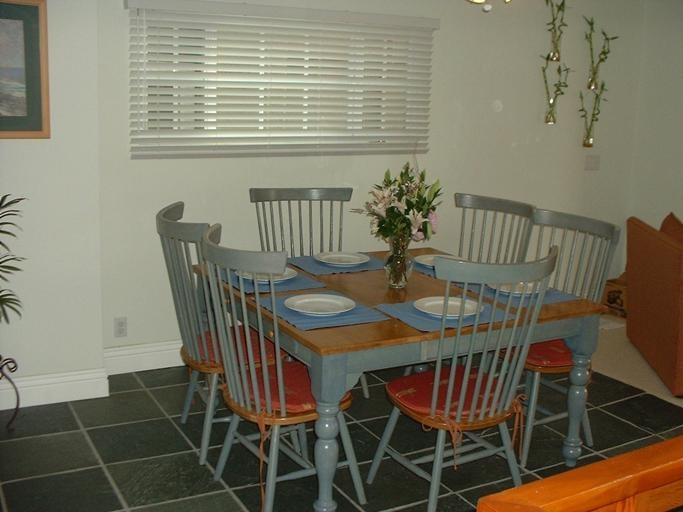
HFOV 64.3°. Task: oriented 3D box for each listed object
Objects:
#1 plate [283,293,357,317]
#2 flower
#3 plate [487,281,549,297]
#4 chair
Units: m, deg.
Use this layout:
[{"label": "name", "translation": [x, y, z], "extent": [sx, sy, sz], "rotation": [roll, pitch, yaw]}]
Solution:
[{"label": "plate", "translation": [-0.095, 0.209, 2.340], "extent": [0.273, 0.034, 0.277], "rotation": [-10, 17, -33]}, {"label": "flower", "translation": [0.284, -0.131, 2.598], "extent": [0.324, 0.585, 0.233], "rotation": [0, 15, 4]}, {"label": "plate", "translation": [0.829, 0.153, 2.502], "extent": [0.170, 0.024, 0.170], "rotation": [-4, 5, -22]}, {"label": "chair", "translation": [0.241, 0.326, 2.995], "extent": [2.054, 1.277, 2.004], "rotation": [11, 19, 38]}]
